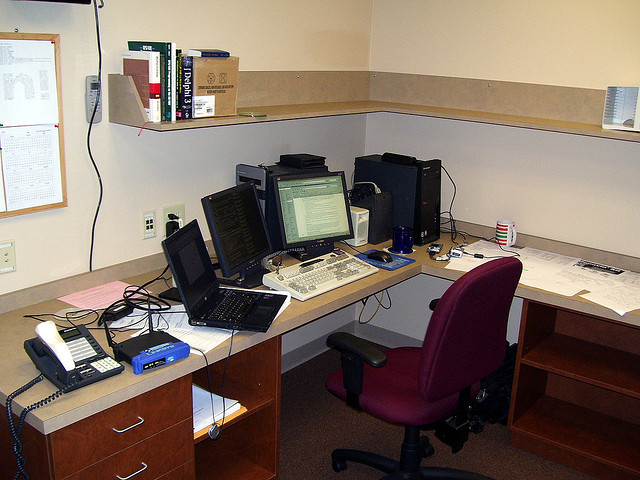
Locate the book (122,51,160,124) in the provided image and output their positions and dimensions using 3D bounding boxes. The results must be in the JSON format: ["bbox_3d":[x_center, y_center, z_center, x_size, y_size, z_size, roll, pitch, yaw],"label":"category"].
[{"bbox_3d":[-0.788,-0.681,2.213,0.264,0.360,0.038,18,21,40],"label":"book"}]

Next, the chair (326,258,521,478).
[{"bbox_3d":[0.539,0.675,2.503,0.739,1.071,0.710,-17,31,-34],"label":"chair"}]

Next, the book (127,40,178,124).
[{"bbox_3d":[-0.742,-0.697,2.212,0.280,0.329,0.046,24,25,34],"label":"book"}]

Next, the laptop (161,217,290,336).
[{"bbox_3d":[-0.389,0.141,2.177,0.464,0.341,0.423,7,16,9],"label":"laptop"}]

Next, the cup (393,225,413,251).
[{"bbox_3d":[0.495,-0.017,3.028,0.133,0.121,0.113,21,28,37],"label":"cup"}]

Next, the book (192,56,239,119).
[{"bbox_3d":[-0.505,-0.730,2.354,0.142,0.244,0.250,21,28,38],"label":"book"}]

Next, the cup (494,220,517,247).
[{"bbox_3d":[1.186,-0.047,3.169,0.135,0.156,0.162,5,19,18],"label":"cup"}]

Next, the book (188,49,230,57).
[{"bbox_3d":[-0.523,-0.870,2.322,0.067,0.034,0.204,15,24,40],"label":"book"}]

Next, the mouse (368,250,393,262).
[{"bbox_3d":[0.343,0.084,2.824,0.060,0.030,0.106,-14,20,-36],"label":"mouse"}]
